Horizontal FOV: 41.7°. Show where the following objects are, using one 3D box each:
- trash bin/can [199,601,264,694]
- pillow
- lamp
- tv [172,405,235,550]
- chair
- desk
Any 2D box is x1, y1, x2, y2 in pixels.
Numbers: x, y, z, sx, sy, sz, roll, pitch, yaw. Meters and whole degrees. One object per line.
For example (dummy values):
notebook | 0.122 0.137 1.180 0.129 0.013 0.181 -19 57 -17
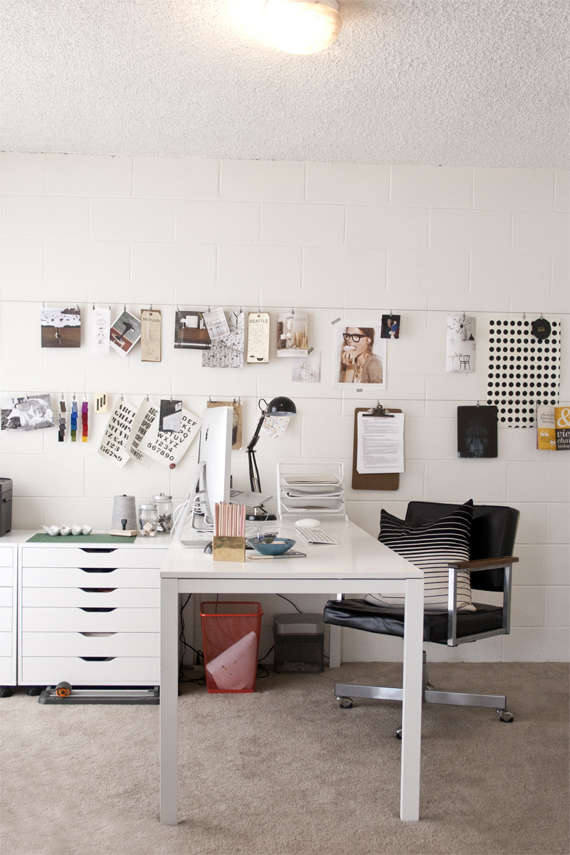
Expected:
trash bin/can | -0.218 0.886 3.061 0.300 0.379 0.282 0 -5 -2
pillow | 0.489 0.450 2.587 0.160 0.375 0.396 31 -30 -32
lamp | -0.062 0.119 3.182 0.213 0.511 0.384 1 1 1
tv | -0.286 0.167 2.587 0.197 0.463 0.510 2 2 -8
chair | 0.509 0.672 2.792 0.671 0.772 0.685 1 -2 -2
desk | 0.005 0.701 2.306 0.729 0.683 0.728 1 1 -6
